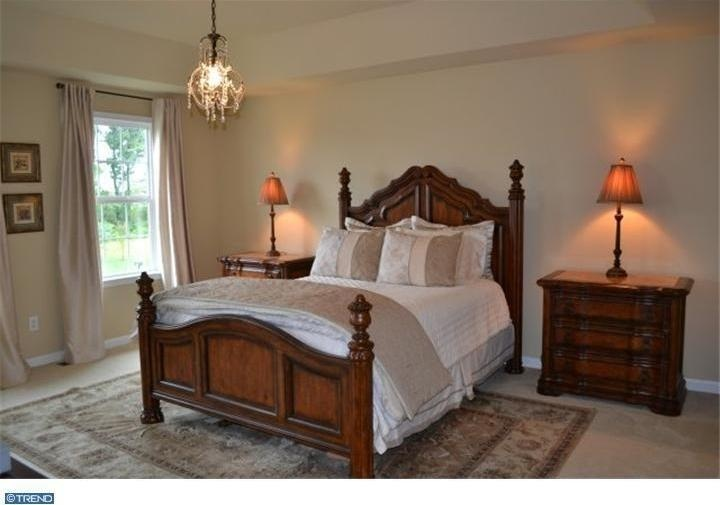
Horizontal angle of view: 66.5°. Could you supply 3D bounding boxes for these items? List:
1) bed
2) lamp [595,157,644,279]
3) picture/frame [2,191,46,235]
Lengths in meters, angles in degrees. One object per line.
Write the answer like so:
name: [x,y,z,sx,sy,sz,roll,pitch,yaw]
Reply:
bed: [0.158,0.403,4.784,2.549,2.200,3.086,5,7,38]
lamp: [2.253,-0.315,4.741,0.347,1.008,0.410,4,9,25]
picture/frame: [-3.257,-0.387,5.273,0.034,0.430,0.429,6,9,41]
